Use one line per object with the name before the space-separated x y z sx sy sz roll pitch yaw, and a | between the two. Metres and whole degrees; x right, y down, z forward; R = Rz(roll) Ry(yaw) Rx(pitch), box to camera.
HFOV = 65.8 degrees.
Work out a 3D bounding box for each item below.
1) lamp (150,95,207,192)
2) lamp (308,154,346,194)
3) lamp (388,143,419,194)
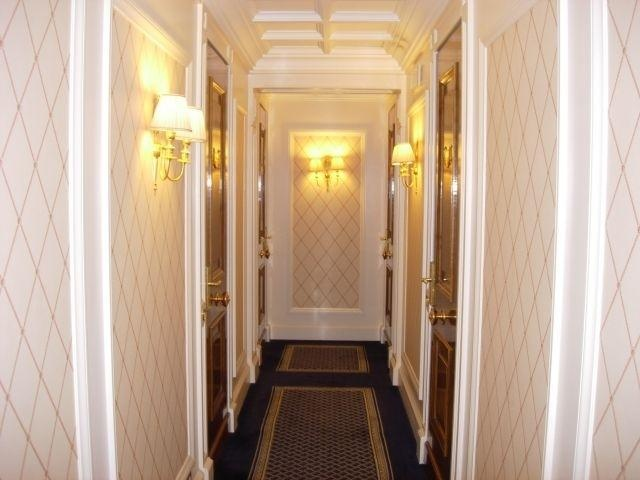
lamp | -0.726 -0.464 2.456 0.193 0.471 0.446 4 5 -9
lamp | 0.074 -0.811 5.998 0.447 0.424 0.153 1 6 -3
lamp | 0.699 -0.610 4.143 0.172 0.378 0.170 -3 1 21
